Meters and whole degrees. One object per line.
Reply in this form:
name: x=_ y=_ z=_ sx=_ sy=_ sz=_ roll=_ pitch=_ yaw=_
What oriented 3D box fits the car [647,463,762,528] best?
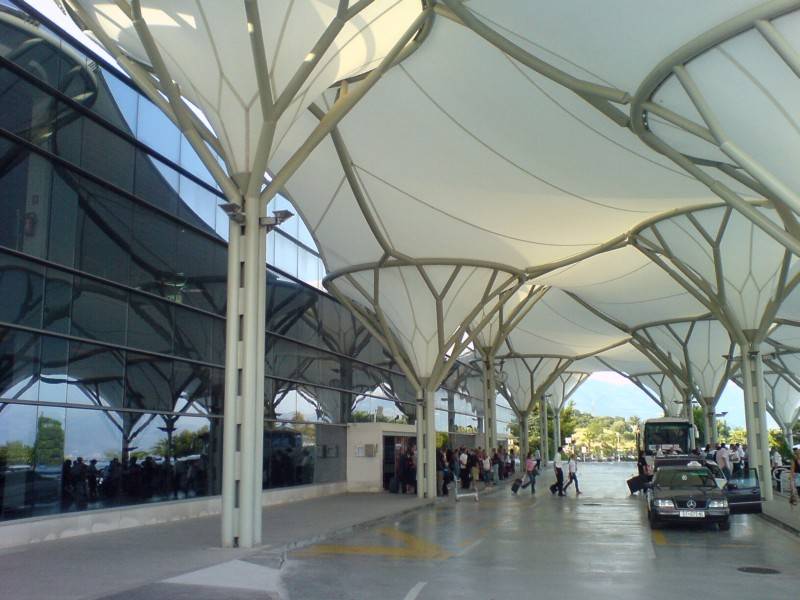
car: x=8.265 y=5.563 z=18.010 sx=1.998 sy=1.865 sz=2.975 roll=-9 pitch=-18 yaw=24

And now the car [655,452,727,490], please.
car: x=9.255 y=5.164 z=19.854 sx=1.067 sy=0.866 sz=2.413 roll=-6 pitch=-8 yaw=34
